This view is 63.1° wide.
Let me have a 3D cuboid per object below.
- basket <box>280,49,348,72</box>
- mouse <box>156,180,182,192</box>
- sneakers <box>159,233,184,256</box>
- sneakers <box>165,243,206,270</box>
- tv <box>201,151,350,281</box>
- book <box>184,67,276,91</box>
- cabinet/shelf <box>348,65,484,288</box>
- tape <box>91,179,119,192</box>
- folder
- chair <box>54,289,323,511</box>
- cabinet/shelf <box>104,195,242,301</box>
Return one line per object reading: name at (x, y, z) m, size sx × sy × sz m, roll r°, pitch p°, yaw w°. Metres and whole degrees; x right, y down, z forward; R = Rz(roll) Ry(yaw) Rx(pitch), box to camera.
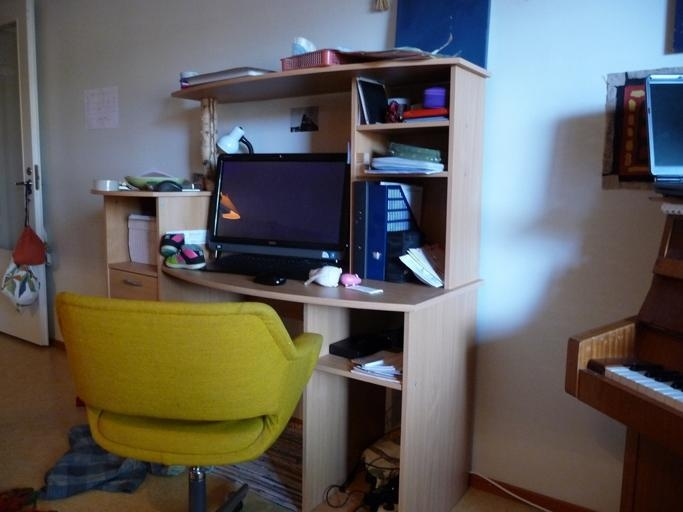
basket at (-0.125, -0.811, 2.318) m, size 0.294 × 0.081 × 0.096 m, roll 8°, pitch 14°, yaw 29°
mouse at (-0.846, -0.334, 2.711) m, size 0.094 × 0.034 × 0.067 m, roll -4°, pitch 10°, yaw -38°
sneakers at (-0.802, -0.048, 2.608) m, size 0.055 × 0.072 × 0.165 m, roll -2°, pitch 12°, yaw 4°
sneakers at (-0.723, -0.002, 2.603) m, size 0.183 × 0.105 × 0.095 m, roll 7°, pitch 9°, yaw 15°
tv at (-0.309, -0.230, 2.648) m, size 0.768 × 0.525 × 0.146 m, roll 7°, pitch 13°, yaw 25°
book at (-0.547, -0.832, 2.581) m, size 0.626 × 0.089 × 0.135 m, roll 13°, pitch 17°, yaw 42°
cabinet/shelf at (0.346, -0.347, 2.371) m, size 0.507 × 0.867 × 0.395 m, roll 7°, pitch 14°, yaw 27°
tape at (-1.208, -0.359, 2.866) m, size 0.088 × 0.038 × 0.089 m, roll 9°, pitch 8°, yaw 44°
folder at (0.188, -0.144, 2.563) m, size 0.355 × 0.525 × 0.421 m, roll 3°, pitch 7°, yaw 16°
chair at (-0.513, 0.342, 2.004) m, size 0.646 × 0.804 × 0.658 m, roll 3°, pitch 12°, yaw 15°
cabinet/shelf at (-0.992, 0.029, 2.877) m, size 0.374 × 0.494 × 0.351 m, roll 9°, pitch 14°, yaw 21°
